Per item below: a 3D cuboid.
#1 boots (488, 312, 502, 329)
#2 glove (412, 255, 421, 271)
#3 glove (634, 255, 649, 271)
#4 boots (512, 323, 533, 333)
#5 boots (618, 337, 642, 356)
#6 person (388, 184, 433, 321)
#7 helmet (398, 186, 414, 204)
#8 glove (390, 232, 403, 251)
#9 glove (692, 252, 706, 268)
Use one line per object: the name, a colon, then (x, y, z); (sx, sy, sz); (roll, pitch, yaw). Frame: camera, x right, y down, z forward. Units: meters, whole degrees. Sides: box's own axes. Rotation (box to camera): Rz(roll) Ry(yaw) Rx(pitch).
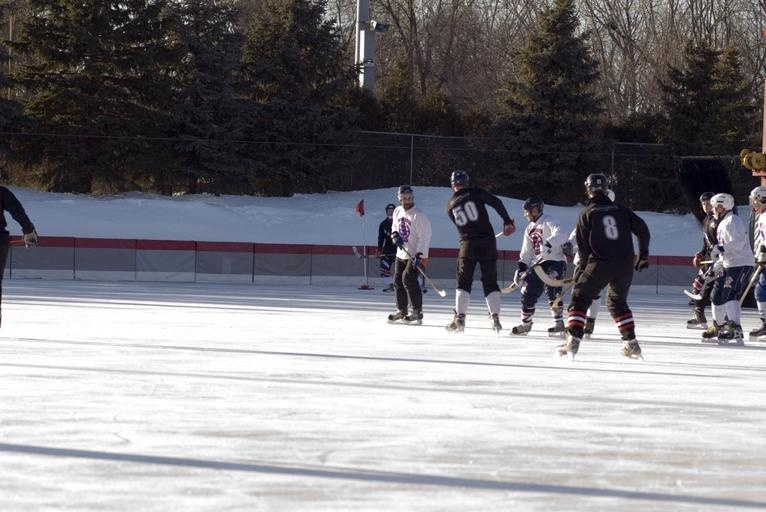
boots: (3.002, 1.705, 34.107); (0.288, 0.518, 0.465); (0, 5, 4)
glove: (0.949, 0.181, 34.473); (0.248, 0.318, 0.081); (8, 4, 11)
glove: (6.447, 0.114, 32.278); (0.304, 0.440, 0.386); (0, 24, -10)
boots: (3.617, 1.856, 34.016); (0.603, 0.242, 0.207); (0, 5, -23)
boots: (5.983, 2.158, 32.009); (0.682, 0.602, 0.356); (0, -2, 3)
person: (0.782, -0.016, 34.775); (1.015, 3.553, 0.463); (1, 6, 18)
helmet: (0.686, -1.634, 34.864); (0.473, 0.548, 0.561); (-4, -14, 2)
glove: (0.502, -0.419, 34.928); (0.331, 0.397, 0.184); (-18, 1, 18)
glove: (8.914, 0.111, 37.031); (0.174, 0.475, 0.374); (13, -7, -37)
